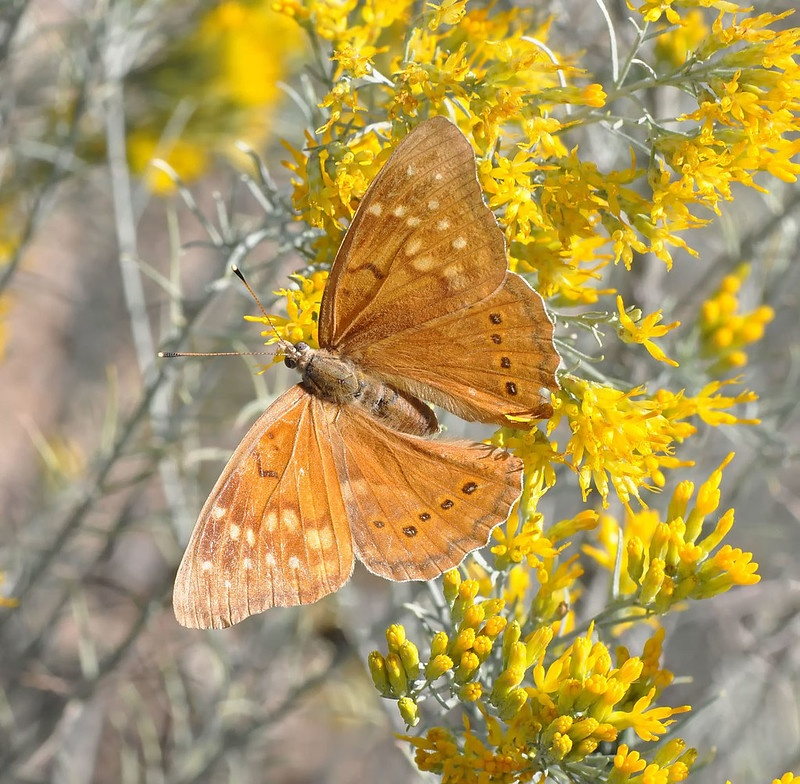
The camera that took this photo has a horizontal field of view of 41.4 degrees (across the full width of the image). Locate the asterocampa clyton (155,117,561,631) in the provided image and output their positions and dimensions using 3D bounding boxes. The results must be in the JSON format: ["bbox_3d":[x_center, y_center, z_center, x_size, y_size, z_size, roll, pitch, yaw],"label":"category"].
[{"bbox_3d":[0.013,0.013,2.702,0.630,0.294,1.210,28,-69,-26],"label":"asterocampa clyton"}]

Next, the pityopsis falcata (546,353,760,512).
[{"bbox_3d":[0.613,0.057,2.640,0.367,0.431,0.330,2,14,6],"label":"pityopsis falcata"}]
